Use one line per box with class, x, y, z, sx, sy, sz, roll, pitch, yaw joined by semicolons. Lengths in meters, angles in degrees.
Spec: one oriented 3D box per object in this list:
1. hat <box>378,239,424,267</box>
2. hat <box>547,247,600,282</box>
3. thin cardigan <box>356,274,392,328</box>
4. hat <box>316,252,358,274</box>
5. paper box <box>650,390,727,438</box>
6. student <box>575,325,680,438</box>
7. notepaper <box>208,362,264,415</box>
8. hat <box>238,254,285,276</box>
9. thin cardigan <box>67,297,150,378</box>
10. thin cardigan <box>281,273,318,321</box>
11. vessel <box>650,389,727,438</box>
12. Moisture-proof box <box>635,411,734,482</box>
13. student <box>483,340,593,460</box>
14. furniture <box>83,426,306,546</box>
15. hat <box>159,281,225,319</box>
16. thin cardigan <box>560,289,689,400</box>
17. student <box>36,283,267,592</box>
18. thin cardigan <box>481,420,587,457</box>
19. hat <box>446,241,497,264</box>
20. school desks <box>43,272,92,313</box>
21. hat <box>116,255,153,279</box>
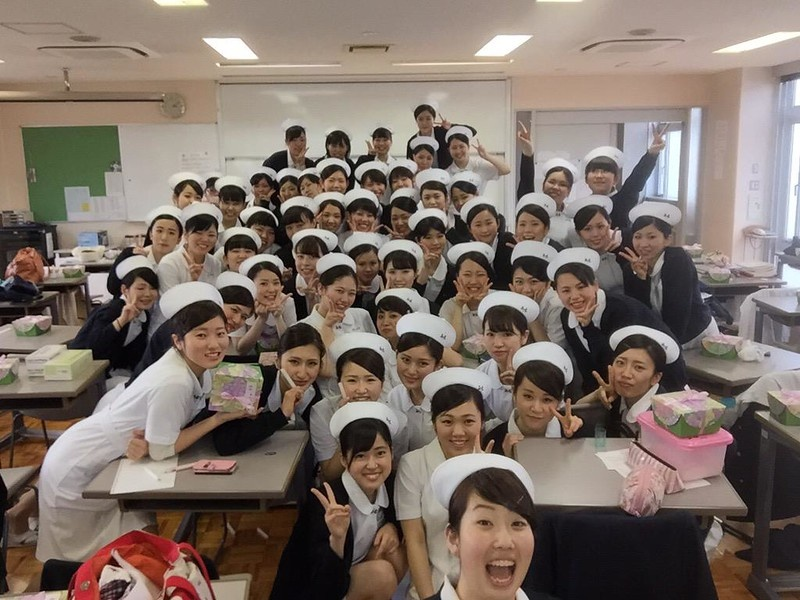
hat;0.020;-0.328;4.219;0.314;0.142;0.223;-5;12;-11
hat;1.053;-0.218;3.815;0.318;0.185;0.215;-2;12;3
thin cardigan;-0.200;-0.001;4.217;0.203;0.308;0.155;5;-15;-2
hat;-0.403;-0.224;3.964;0.228;0.126;0.274;-5;12;-10
paper box;1.264;0.484;2.791;0.274;0.159;0.198;-5;12;-9
student;1.165;0.415;3.221;0.272;0.701;0.391;19;0;-21
notepaper;-0.786;0.410;2.987;0.235;0.177;0.243;10;2;-26
hat;-0.876;-0.224;3.997;0.274;0.121;0.203;-6;13;-15
thin cardigan;-1.829;0.245;4.011;0.352;0.273;0.373;23;-48;-33
thin cardigan;-0.664;-0.019;4.214;0.150;0.481;0.150;-14;32;-10
vessel;1.262;0.485;2.797;0.272;0.161;0.292;-1;12;14
Moisture-proof box;1.229;0.653;2.824;0.387;0.200;0.275;3;2;-18
student;0.653;0.468;3.254;0.456;0.615;0.563;1;-4;10
furniture;-0.886;0.832;2.948;0.864;0.302;0.551;-2;12;4
hat;-1.040;0.002;3.087;0.229;0.095;0.206;10;30;36
thin cardigan;1.205;0.158;3.770;0.385;0.541;0.332;7;48;51
student;-1.219;0.584;3.156;0.975;1.546;0.661;12;16;0
thin cardigan;0.618;0.678;3.172;0.309;0.090;0.255;-3;6;-6
hat;0.442;-0.307;4.246;0.327;0.171;0.345;1;13;18
school desks;-3.262;-0.085;6.203;0.363;0.374;0.373;-1;13;-10
hat;-1.710;-0.210;4.080;0.197;0.145;0.353;-8;13;-25
